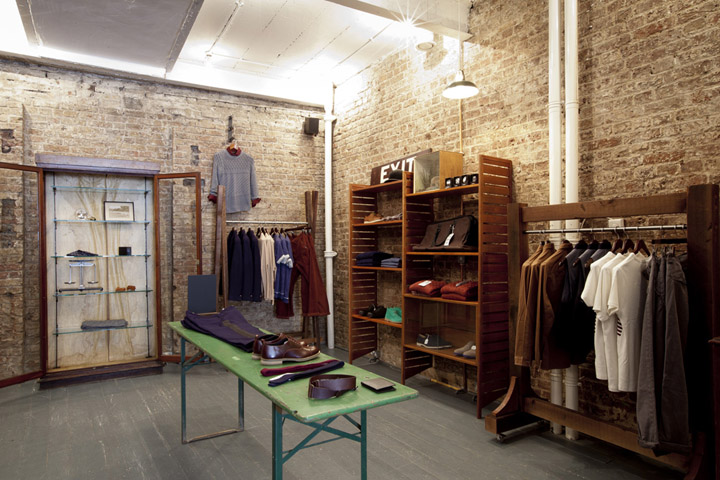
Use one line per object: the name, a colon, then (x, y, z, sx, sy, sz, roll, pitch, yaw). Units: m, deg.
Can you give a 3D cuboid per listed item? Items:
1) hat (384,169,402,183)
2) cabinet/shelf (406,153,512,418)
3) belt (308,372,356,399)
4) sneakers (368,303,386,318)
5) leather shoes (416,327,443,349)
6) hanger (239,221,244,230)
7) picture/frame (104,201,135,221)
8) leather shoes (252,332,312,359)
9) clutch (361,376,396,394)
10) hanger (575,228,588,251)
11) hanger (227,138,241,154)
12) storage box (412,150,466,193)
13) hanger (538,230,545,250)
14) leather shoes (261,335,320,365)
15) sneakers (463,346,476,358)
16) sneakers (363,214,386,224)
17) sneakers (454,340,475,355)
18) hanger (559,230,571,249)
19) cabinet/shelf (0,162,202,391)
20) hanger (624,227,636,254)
hat: (0.478, -0.894, 7.183, 0.202, 0.087, 0.199, -2, -1, 32)
cabinet/shelf: (1.196, 0.428, 6.447, 0.893, 2.946, 1.635, -10, 15, -39)
belt: (-0.213, 1.104, 3.952, 0.259, 0.095, 0.182, 1, -2, -10)
sneakers: (0.257, 1.032, 7.585, 0.256, 0.114, 0.301, 0, 11, 4)
leather shoes: (0.893, 1.265, 6.725, 0.207, 0.114, 0.290, 2, -6, -27)
hanger: (-1.905, -0.252, 8.391, 0.062, 0.089, 0.164, 4, -17, -17)
picture/frame: (-3.586, -0.436, 7.663, 0.332, 0.254, 0.034, 3, -10, -33)
leather shoes: (-0.651, 0.917, 4.468, 0.333, 0.105, 0.251, 2, -3, -33)
clutch: (0.142, 1.121, 4.046, 0.260, 0.052, 0.174, 7, 13, 36)
hanger: (2.284, -0.035, 5.351, 0.123, 0.238, 0.456, 4, 12, 23)
hanger: (-2.034, -1.513, 8.344, 0.207, 0.257, 0.228, -3, 12, -12)
storage box: (1.000, -0.839, 6.823, 0.542, 0.617, 0.721, 5, -6, -34)
hanger: (1.968, -0.032, 5.577, 0.061, 0.225, 0.557, 3, 11, 19)
leather shoes: (-0.617, 0.935, 4.445, 0.351, 0.115, 0.253, 0, -2, -34)
sneakers: (1.323, 1.333, 6.172, 0.083, 0.093, 0.222, -11, -13, 36)
sneakers: (0.201, -0.321, 7.650, 0.128, 0.133, 0.340, 4, -9, -39)
sneakers: (1.288, 1.304, 6.281, 0.299, 0.117, 0.107, -15, -8, 21)
hanger: (2.171, -0.024, 5.419, 0.113, 0.220, 0.339, 4, 12, 21)
cabinet/shelf: (-3.781, 0.554, 7.339, 3.454, 3.011, 1.176, 1, -2, -37)
hanger: (2.606, 0.005, 4.995, 0.041, 0.280, 0.280, -3, -1, 40)
